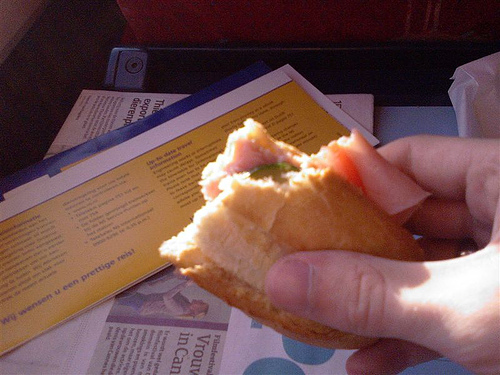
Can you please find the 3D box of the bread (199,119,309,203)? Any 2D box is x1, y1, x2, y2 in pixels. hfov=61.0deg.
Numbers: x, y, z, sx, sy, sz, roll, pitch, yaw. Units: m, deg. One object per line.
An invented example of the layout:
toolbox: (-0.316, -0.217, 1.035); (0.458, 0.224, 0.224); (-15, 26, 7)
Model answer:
bread: (0.000, -0.062, 0.941); (0.187, 0.062, 0.190); (39, 97, -2)

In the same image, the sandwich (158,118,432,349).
sandwich: (0.085, 0.079, 1.042); (0.484, 0.489, 0.459); (-16, 26, -4)
